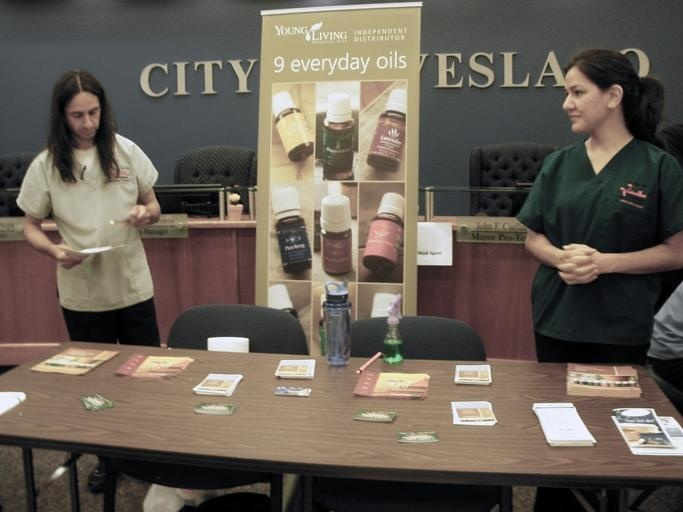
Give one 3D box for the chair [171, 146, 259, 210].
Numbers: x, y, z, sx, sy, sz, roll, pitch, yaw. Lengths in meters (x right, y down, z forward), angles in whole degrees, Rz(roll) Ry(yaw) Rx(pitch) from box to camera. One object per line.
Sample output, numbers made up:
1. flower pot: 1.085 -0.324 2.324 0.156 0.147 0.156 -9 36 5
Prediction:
1. chair: -1.139 -0.737 5.199 0.759 0.713 0.440 -5 30 -26
